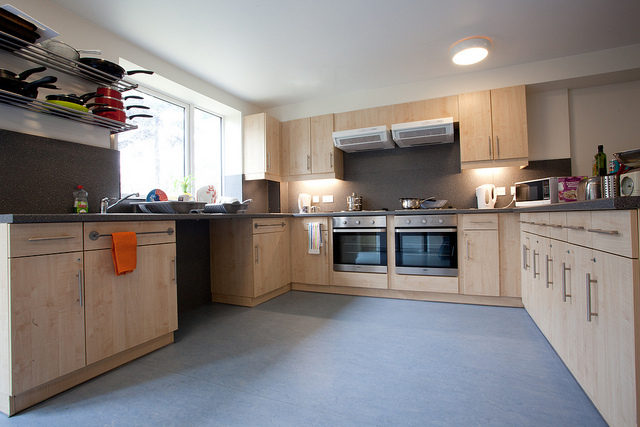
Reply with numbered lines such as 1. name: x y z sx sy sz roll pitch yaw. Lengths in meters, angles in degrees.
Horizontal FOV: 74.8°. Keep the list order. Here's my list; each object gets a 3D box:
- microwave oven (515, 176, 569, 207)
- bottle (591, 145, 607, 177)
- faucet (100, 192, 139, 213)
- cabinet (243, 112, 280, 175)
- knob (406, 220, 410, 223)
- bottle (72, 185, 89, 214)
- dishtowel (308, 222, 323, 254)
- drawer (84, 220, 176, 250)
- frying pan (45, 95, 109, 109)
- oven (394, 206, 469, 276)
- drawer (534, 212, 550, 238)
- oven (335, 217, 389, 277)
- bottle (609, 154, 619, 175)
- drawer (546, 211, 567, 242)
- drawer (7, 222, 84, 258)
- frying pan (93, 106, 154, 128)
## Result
1. microwave oven: 2.477 -0.201 4.704 0.266 0.269 0.449 -5 2 -21
2. bottle: 2.760 -0.517 4.127 0.123 0.299 0.653 3 7 34
3. faucet: -1.963 -0.096 4.082 0.348 0.179 0.234 -3 6 -24
4. cabinet: -0.816 -0.921 6.013 0.447 0.831 0.495 -1 -1 24
5. knob: 1.048 0.103 4.986 0.036 0.035 0.018 -30 -5 13
6. bottle: -2.215 -0.131 3.888 0.124 0.255 0.155 5 8 44
7. dishtowel: -0.071 0.334 5.390 0.192 0.410 0.135 0 6 3
8. drawer: -1.588 0.167 3.477 0.376 0.195 0.622 4 3 28
9. frying pan: -2.242 -1.008 3.761 0.288 0.038 0.146 5 -4 -37
10. oven: 1.354 0.368 5.148 0.866 0.795 0.597 -1 0 22
11. drawer: 1.954 0.104 3.684 0.080 0.213 0.241 1 -2 5
12. oven: 0.420 0.443 5.413 0.758 0.673 0.545 2 -10 -19
13. bottle: 2.369 -0.387 3.375 0.065 0.152 0.420 3 7 35
14. drawer: 1.906 0.109 3.367 0.087 0.230 0.257 2 -3 5
15. drawer: -2.035 0.185 3.104 0.467 0.248 0.061 -4 7 -34
16. frying pan: -1.936 -0.928 3.983 0.380 0.130 0.210 2 -1 -5
